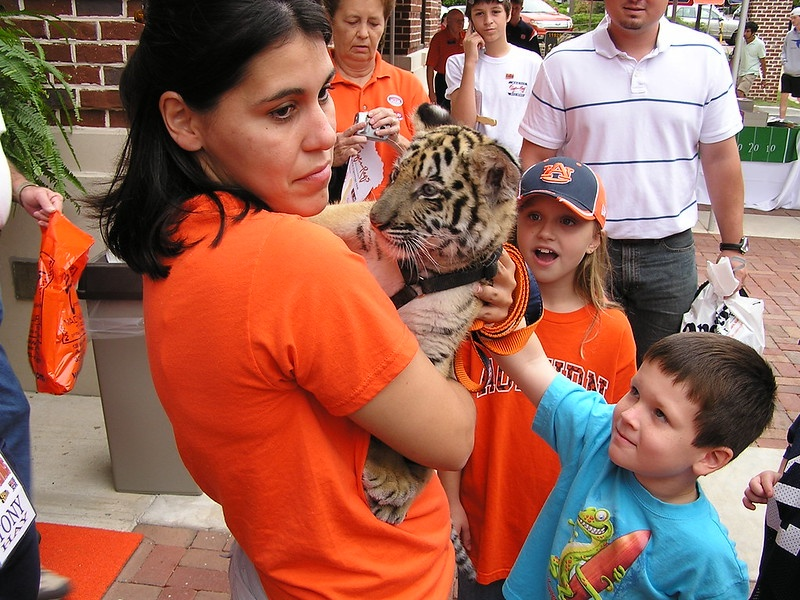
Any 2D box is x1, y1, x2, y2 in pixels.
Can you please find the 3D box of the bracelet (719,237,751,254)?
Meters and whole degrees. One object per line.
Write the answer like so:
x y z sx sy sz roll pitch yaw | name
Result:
2.333 -0.371 4.177 0.174 0.106 0.164 -3 15 14 | bracelet

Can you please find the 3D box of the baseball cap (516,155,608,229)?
0.820 -0.516 2.999 0.284 0.230 0.396 19 -4 42 | baseball cap

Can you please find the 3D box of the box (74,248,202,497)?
-1.844 0.411 4.388 1.084 1.578 0.995 6 -24 -43 | box

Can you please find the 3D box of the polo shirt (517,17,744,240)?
1.577 -1.144 4.137 1.381 1.445 0.644 1 13 15 | polo shirt

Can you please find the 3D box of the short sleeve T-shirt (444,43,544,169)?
1.042 -2.288 6.614 1.074 0.545 1.403 -3 -14 3 | short sleeve T-shirt

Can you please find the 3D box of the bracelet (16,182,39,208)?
-2.200 -0.613 3.510 0.102 0.142 0.416 -8 16 -32 | bracelet
